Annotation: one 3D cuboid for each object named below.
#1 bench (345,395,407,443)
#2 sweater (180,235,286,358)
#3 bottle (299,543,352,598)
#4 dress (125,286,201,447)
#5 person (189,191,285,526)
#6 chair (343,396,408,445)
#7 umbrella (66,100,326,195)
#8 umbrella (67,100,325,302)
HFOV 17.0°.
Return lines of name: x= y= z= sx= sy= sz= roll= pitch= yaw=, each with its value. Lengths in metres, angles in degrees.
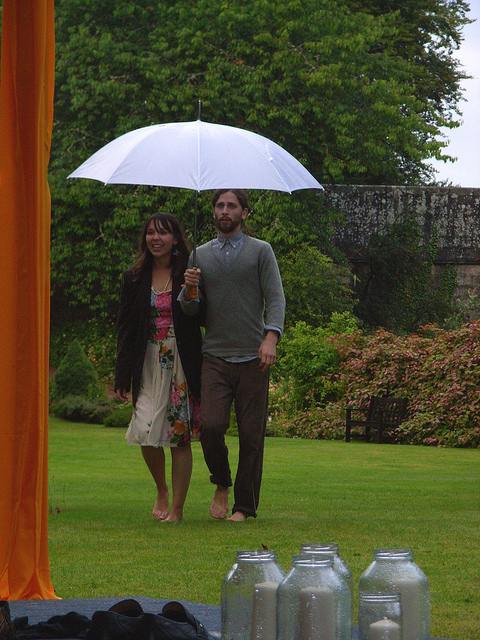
bench: x=1.452 y=1.055 z=17.015 sx=0.507 sy=0.789 sz=0.467 roll=-3 pitch=-12 yaw=44
sweater: x=-0.049 y=-0.124 z=10.308 sx=0.573 sy=0.864 sz=0.398 roll=-1 pitch=-19 yaw=2
bottle: x=0.365 y=1.041 z=6.682 sx=0.163 sy=0.247 sz=0.203 roll=0 pitch=-2 yaw=-2
dress: x=-0.464 y=0.335 z=10.274 sx=0.457 sy=0.947 sz=0.198 roll=4 pitch=1 yaw=-6
person: x=-0.027 y=0.250 z=10.285 sx=0.589 sy=2.030 sz=0.416 roll=4 pitch=1 yaw=1
chair: x=1.484 y=1.085 z=16.984 sx=0.435 sy=0.709 sz=0.598 roll=6 pitch=-8 yaw=-43
umbrella: x=-0.258 y=-0.995 z=9.933 sx=1.445 sy=0.518 sz=0.788 roll=6 pitch=1 yaw=4
umbrella: x=-0.311 y=-0.699 z=10.359 sx=1.193 sy=1.222 sz=1.332 roll=0 pitch=10 yaw=-5
